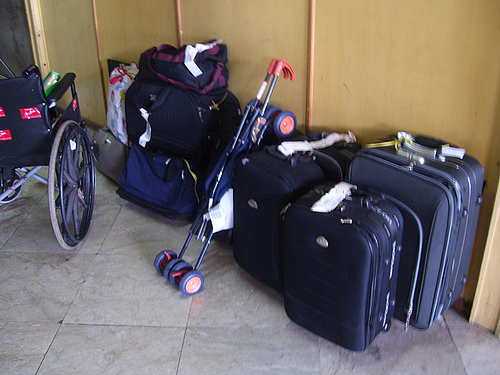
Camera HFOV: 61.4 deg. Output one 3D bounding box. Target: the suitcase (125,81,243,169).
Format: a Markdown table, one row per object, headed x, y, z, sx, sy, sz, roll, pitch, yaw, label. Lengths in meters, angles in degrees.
| x | y | z | sx | sy | sz | roll | pitch | yaw | label |
| --- | --- | --- | --- | --- | --- | --- | --- | --- | --- |
| -0.497 | -0.477 | 2.982 | 0.719 | 0.627 | 0.585 | 23 | 30 | 24 | suitcase |

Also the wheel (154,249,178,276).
| x | y | z | sx | sy | sz | roll | pitch | yaw | label |
| --- | --- | --- | --- | --- | --- | --- | --- | --- | --- |
| -0.513 | 0.431 | 2.504 | 0.044 | 0.139 | 0.130 | 15 | 47 | 33 | wheel |

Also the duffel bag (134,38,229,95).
| x | y | z | sx | sy | sz | roll | pitch | yaw | label |
| --- | --- | --- | --- | --- | --- | --- | --- | --- | --- |
| -0.467 | -0.837 | 2.868 | 0.496 | 0.402 | 0.599 | -19 | 32 | -36 | duffel bag |

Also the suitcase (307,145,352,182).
| x | y | z | sx | sy | sz | roll | pitch | yaw | label |
| --- | --- | --- | --- | --- | --- | --- | --- | --- | --- |
| 0.422 | -0.119 | 2.251 | 0.081 | 0.104 | 0.142 | -31 | 31 | -30 | suitcase |

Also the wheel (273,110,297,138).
| x | y | z | sx | sy | sz | roll | pitch | yaw | label |
| --- | --- | --- | --- | --- | --- | --- | --- | --- | --- |
| 0.194 | -0.355 | 2.366 | 0.130 | 0.158 | 0.066 | -10 | 25 | -22 | wheel |

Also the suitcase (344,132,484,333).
| x | y | z | sx | sy | sz | roll | pitch | yaw | label |
| --- | --- | --- | --- | --- | --- | --- | --- | --- | --- |
| 0.829 | 0.233 | 2.208 | 0.648 | 0.916 | 0.548 | 26 | 30 | 38 | suitcase |

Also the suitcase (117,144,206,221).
| x | y | z | sx | sy | sz | roll | pitch | yaw | label |
| --- | --- | --- | --- | --- | --- | --- | --- | --- | --- |
| -0.677 | -0.070 | 3.081 | 0.551 | 0.454 | 0.311 | 21 | 13 | 4 | suitcase |

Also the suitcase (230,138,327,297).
| x | y | z | sx | sy | sz | roll | pitch | yaw | label |
| --- | --- | --- | --- | --- | --- | --- | --- | --- | --- |
| 0.153 | 0.133 | 2.148 | 0.358 | 0.757 | 0.417 | -23 | 41 | -35 | suitcase |

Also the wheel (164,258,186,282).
| x | y | z | sx | sy | sz | roll | pitch | yaw | label |
| --- | --- | --- | --- | --- | --- | --- | --- | --- | --- |
| -0.454 | 0.466 | 2.474 | 0.101 | 0.125 | 0.110 | 2 | 20 | -1 | wheel |

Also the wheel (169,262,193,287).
| x | y | z | sx | sy | sz | roll | pitch | yaw | label |
| --- | --- | --- | --- | --- | --- | --- | --- | --- | --- |
| -0.397 | 0.491 | 2.387 | 0.093 | 0.108 | 0.040 | 17 | 12 | -24 | wheel |

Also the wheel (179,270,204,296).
| x | y | z | sx | sy | sz | roll | pitch | yaw | label |
| --- | --- | --- | --- | --- | --- | --- | --- | --- | --- |
| -0.334 | 0.529 | 2.382 | 0.134 | 0.155 | 0.063 | 6 | 19 | -34 | wheel |

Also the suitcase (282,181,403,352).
| x | y | z | sx | sy | sz | roll | pitch | yaw | label |
| --- | --- | --- | --- | --- | --- | --- | --- | --- | --- |
| 0.452 | 0.358 | 2.114 | 0.495 | 0.865 | 0.420 | 17 | 38 | 32 | suitcase |

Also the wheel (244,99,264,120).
| x | y | z | sx | sy | sz | roll | pitch | yaw | label |
| --- | --- | --- | --- | --- | --- | --- | --- | --- | --- |
| 0.020 | -0.438 | 2.331 | 0.097 | 0.119 | 0.193 | 0 | 28 | -2 | wheel |
